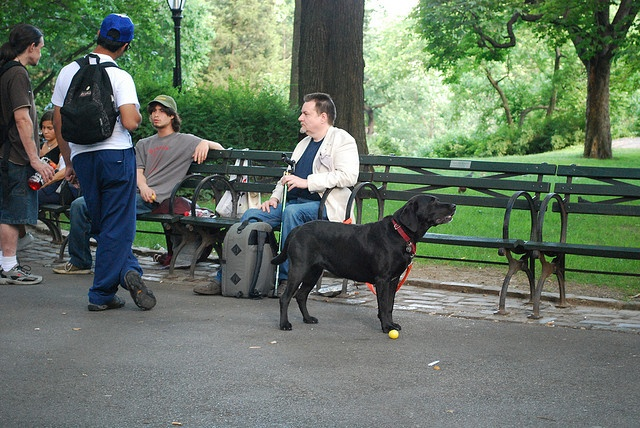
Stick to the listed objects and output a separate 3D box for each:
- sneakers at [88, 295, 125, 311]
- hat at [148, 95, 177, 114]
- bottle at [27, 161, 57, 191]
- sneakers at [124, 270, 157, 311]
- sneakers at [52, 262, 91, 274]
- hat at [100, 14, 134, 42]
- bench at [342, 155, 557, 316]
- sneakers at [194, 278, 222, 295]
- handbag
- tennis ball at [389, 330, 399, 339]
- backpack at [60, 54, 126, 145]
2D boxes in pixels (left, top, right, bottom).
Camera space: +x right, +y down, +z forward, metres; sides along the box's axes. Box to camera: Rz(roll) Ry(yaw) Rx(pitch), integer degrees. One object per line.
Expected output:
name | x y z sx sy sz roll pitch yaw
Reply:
sneakers | -2.338 0.988 7.059 0.148 0.173 0.414 21 19 38
hat | -2.224 -1.604 9.027 0.246 0.157 0.333 9 -11 35
bottle | -3.610 -0.497 8.185 0.566 0.232 0.153 -17 27 52
sneakers | -1.966 0.843 7.006 0.240 0.487 0.244 -35 15 -25
sneakers | -3.422 0.731 8.739 0.563 0.205 0.200 6 -1 -6
hat | -2.168 -2.012 6.766 0.270 0.199 0.366 7 33 -10
bench | 1.721 0.333 8.270 2.417 1.428 0.991 2 5 24
sneakers | -1.377 0.937 7.898 0.360 0.142 0.149 3 -1 -25
handbag | -1.195 -0.423 9.186 0.527 0.995 0.895 8 -11 1
tennis ball | 0.754 1.224 6.435 0.108 0.082 0.145 2 5 7
backpack | -2.418 -1.214 6.654 0.578 0.962 0.293 -1 6 -17
